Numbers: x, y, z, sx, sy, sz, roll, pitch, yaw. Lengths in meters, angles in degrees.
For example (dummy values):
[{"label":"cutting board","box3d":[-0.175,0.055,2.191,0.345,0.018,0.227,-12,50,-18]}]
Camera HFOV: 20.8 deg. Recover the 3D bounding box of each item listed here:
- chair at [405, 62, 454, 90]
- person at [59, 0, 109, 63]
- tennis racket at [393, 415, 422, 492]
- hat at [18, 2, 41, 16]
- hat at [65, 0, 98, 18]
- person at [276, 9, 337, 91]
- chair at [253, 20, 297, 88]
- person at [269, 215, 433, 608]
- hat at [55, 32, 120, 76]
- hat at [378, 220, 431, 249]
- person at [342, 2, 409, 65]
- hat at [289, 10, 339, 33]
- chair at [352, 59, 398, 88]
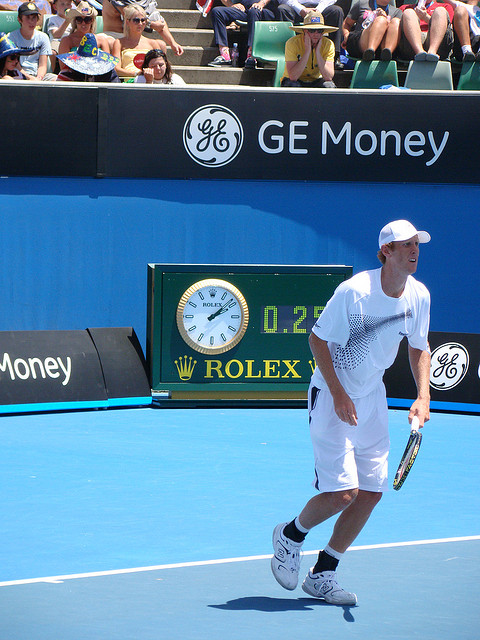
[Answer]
[{"label":"chair","box3d":[2.217,-2.834,15.153,0.389,0.256,0.406,0,3,13]},{"label":"person","box3d":[-1.754,-3.157,14.471,0.549,0.657,1.807,0,8,-8]},{"label":"tennis racket","box3d":[1.112,0.901,8.593,0.082,0.239,0.645,11,33,10]},{"label":"hat","box3d":[-2.380,-3.457,14.411,0.166,0.134,0.220,-7,6,-31]},{"label":"hat","box3d":[-1.768,-3.448,14.296,0.337,0.174,0.406,-1,-3,-4]},{"label":"person","box3d":[0.751,-3.070,14.827,0.635,0.842,0.583,1,8,0]},{"label":"chair","box3d":[0.460,-3.144,15.782,0.587,0.869,0.592,0,16,-14]},{"label":"person","box3d":[0.610,0.481,6.940,0.861,1.996,0.517,1,8,-1]},{"label":"hat","box3d":[-1.617,-2.787,13.682,0.645,0.448,0.435,0,8,-8]},{"label":"hat","box3d":[0.860,-0.463,6.919,0.191,0.113,0.150,-15,-5,34]},{"label":"person","box3d":[1.620,-3.473,15.751,0.721,0.806,1.310,1,8,2]},{"label":"hat","box3d":[0.895,-3.530,15.415,0.597,0.269,0.595,0,1,-1]},{"label":"chair","box3d":[1.591,-2.891,15.459,0.434,0.299,0.357,1,9,5]}]
